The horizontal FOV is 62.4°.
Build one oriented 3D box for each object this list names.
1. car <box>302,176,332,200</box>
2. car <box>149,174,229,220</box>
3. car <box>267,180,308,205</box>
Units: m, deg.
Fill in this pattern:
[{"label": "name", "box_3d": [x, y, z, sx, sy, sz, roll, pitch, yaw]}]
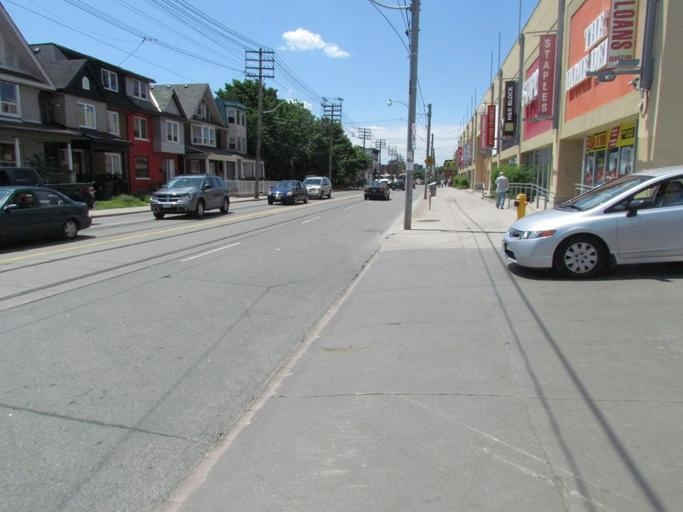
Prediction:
[{"label": "car", "box_3d": [-1.846, -5.128, 41.624, 1.211, 1.166, 2.430, 0, 5, 10]}, {"label": "car", "box_3d": [-6.390, -2.497, 23.746, 2.504, 1.939, 4.472, 3, 15, 16]}, {"label": "car", "box_3d": [-3.179, -3.725, 33.276, 1.698, 1.402, 2.930, 2, 15, 14]}]
